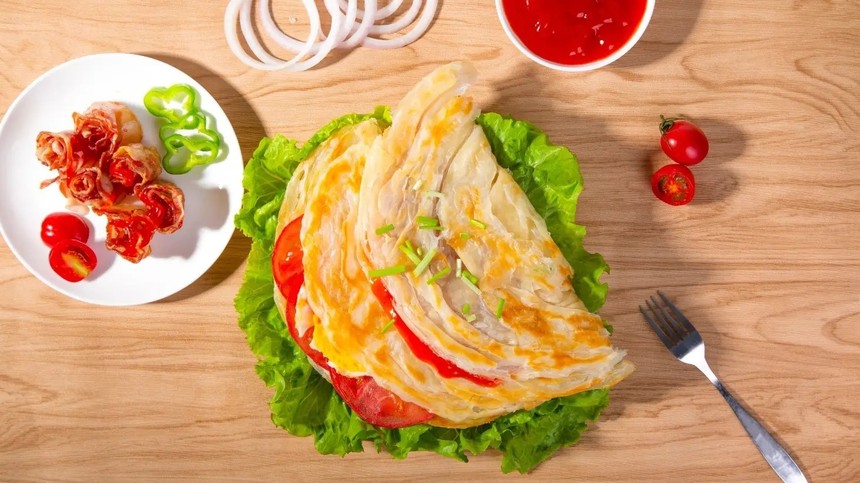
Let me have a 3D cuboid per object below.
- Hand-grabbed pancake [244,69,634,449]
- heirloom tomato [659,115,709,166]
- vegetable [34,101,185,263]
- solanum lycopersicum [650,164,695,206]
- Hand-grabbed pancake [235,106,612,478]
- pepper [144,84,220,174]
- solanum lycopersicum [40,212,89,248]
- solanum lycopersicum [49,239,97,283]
[{"bbox_3d":[-0.031,0.036,4.311,2.003,2.209,0.828,-6,-18,6],"label":"Hand-grabbed pancake"},{"bbox_3d":[1.717,-0.667,4.610,0.412,0.339,0.226,0,0,3],"label":"heirloom tomato"},{"bbox_3d":[-2.286,-0.451,4.885,0.973,1.268,0.700,1,1,-20],"label":"vegetable"},{"bbox_3d":[1.675,-0.392,4.663,0.293,0.264,0.200,-5,-17,3],"label":"solanum lycopersicum"},{"bbox_3d":[0.454,0.483,4.886,1.888,2.765,2.894,-13,25,-38],"label":"Hand-grabbed pancake"},{"bbox_3d":[-1.703,-0.736,4.797,0.578,0.674,0.391,1,0,-7],"label":"pepper"},{"bbox_3d":[-2.613,-0.083,4.809,0.290,0.136,0.316,-5,-15,-22],"label":"solanum lycopersicum"},{"bbox_3d":[-2.432,0.132,4.696,0.329,0.343,0.108,-40,-20,10],"label":"solanum lycopersicum"}]
